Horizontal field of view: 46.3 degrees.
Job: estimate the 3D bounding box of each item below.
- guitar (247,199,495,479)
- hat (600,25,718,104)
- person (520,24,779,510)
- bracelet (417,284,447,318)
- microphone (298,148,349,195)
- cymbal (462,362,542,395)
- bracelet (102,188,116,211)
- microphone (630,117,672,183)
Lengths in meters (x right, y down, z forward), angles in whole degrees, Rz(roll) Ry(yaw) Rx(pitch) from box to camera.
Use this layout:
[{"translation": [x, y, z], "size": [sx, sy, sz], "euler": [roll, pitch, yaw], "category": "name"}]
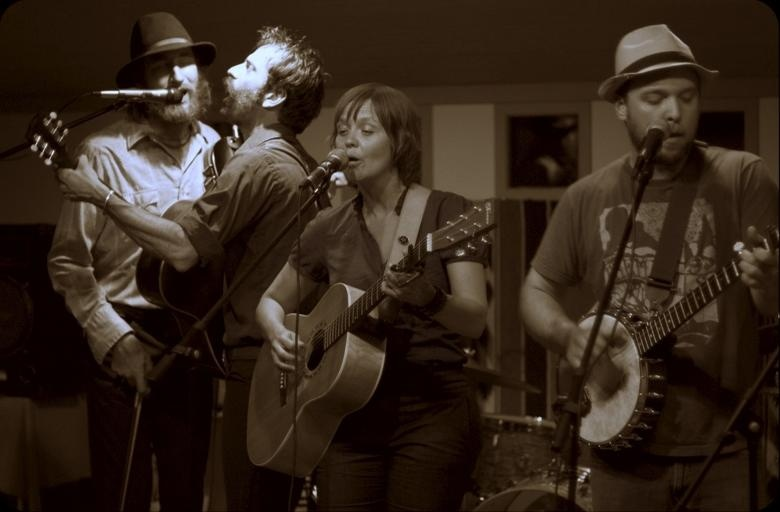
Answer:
[{"translation": [-0.238, 0.520, 4.478], "size": [0.237, 0.877, 1.759], "euler": [16, -46, -31], "category": "guitar"}, {"translation": [1.253, -0.956, 4.361], "size": [0.374, 0.196, 0.420], "euler": [-8, -9, -37], "category": "hat"}, {"translation": [1.229, 0.044, 4.254], "size": [1.078, 2.298, 0.467], "euler": [3, 3, 18], "category": "person"}, {"translation": [0.200, 0.213, 4.251], "size": [0.120, 0.140, 0.052], "euler": [2, 3, 3], "category": "bracelet"}, {"translation": [-0.307, -0.429, 4.533], "size": [0.110, 0.122, 0.348], "euler": [16, 42, 42], "category": "microphone"}, {"translation": [0.647, 0.715, 5.307], "size": [0.449, 0.070, 0.197], "euler": [17, 32, -6], "category": "cymbal"}, {"translation": [-1.568, -0.318, 5.075], "size": [0.020, 0.085, 0.085], "euler": [20, 0, -9], "category": "bracelet"}, {"translation": [1.154, -0.467, 4.062], "size": [0.092, 0.261, 0.185], "euler": [4, 4, 40], "category": "microphone"}]
